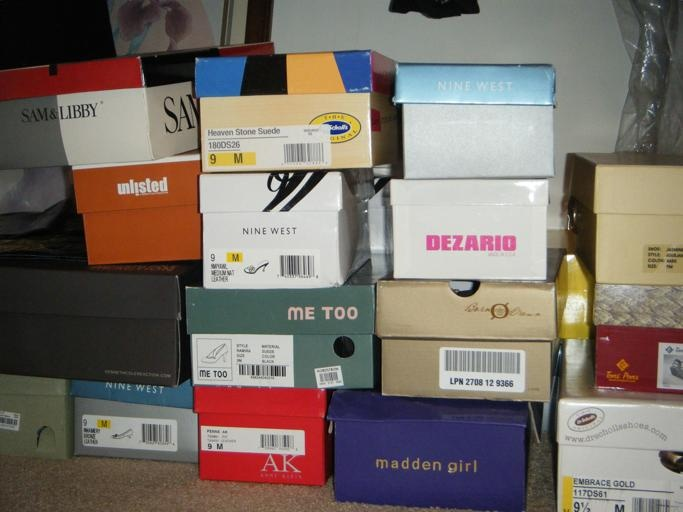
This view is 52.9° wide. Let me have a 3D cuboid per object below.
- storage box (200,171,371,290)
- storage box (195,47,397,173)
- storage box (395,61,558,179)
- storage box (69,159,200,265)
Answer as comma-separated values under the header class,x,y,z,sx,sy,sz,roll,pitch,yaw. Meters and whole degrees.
class,x,y,z,sx,sy,sz,roll,pitch,yaw
storage box,-0.108,-0.045,1.175,0.198,0.140,0.210,0,4,9
storage box,-0.079,-0.239,1.149,0.225,0.158,0.241,0,8,10
storage box,0.226,-0.217,1.113,0.273,0.206,0.172,0,8,3
storage box,-0.364,-0.079,1.237,0.181,0.160,0.203,-3,6,-3
